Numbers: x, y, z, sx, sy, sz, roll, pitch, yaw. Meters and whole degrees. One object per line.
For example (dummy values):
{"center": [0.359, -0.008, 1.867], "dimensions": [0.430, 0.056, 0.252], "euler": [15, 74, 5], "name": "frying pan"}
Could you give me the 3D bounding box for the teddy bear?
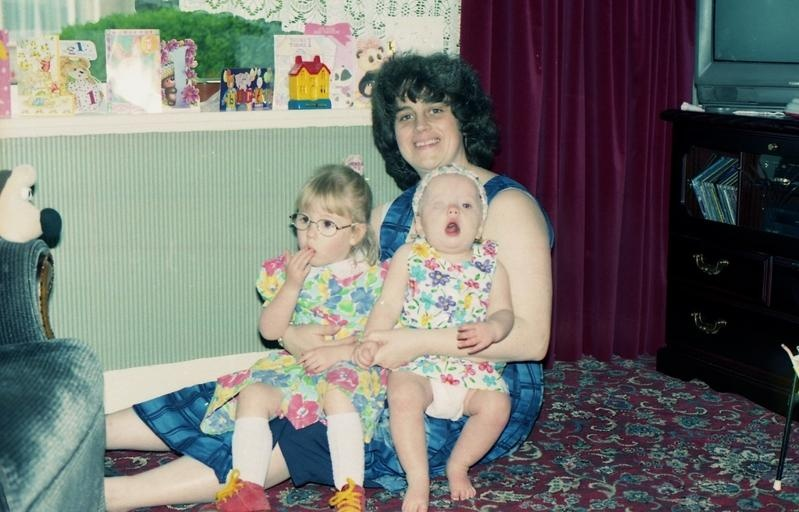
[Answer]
{"center": [-1.333, -0.148, 2.738], "dimensions": [0.259, 0.332, 0.128], "euler": [7, 0, -12], "name": "teddy bear"}
